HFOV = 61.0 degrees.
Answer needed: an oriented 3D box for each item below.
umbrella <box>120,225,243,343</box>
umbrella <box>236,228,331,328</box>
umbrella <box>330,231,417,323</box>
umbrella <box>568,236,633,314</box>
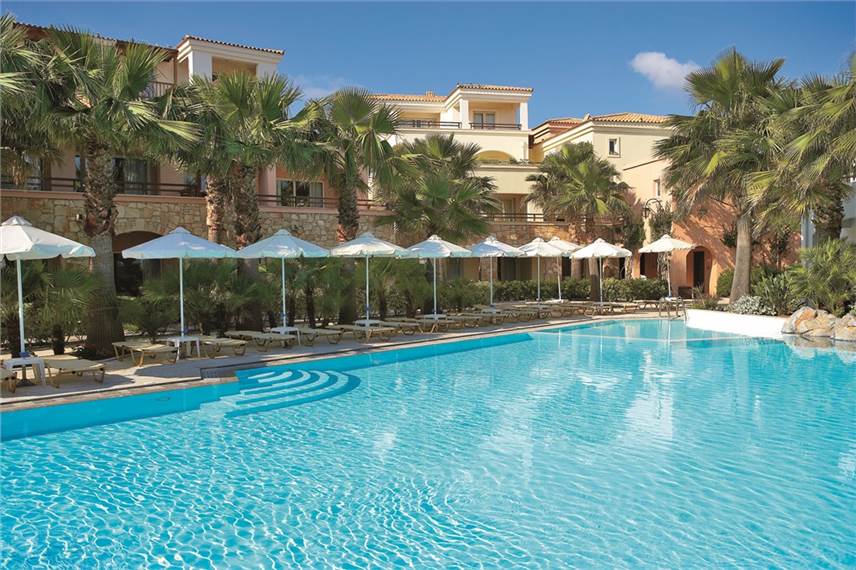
[{"bbox_3d":[-6.668,0.067,20.108,3.091,3.010,3.084,-5,9,-29],"label":"umbrella"},{"bbox_3d":[-4.612,-0.313,21.403,2.892,3.403,2.862,-1,0,-4],"label":"umbrella"},{"bbox_3d":[-1.853,-0.315,23.081,2.845,3.317,2.795,0,0,-2],"label":"umbrella"},{"bbox_3d":[7.161,-0.284,30.597,2.788,3.269,3.177,7,10,36],"label":"umbrella"}]
